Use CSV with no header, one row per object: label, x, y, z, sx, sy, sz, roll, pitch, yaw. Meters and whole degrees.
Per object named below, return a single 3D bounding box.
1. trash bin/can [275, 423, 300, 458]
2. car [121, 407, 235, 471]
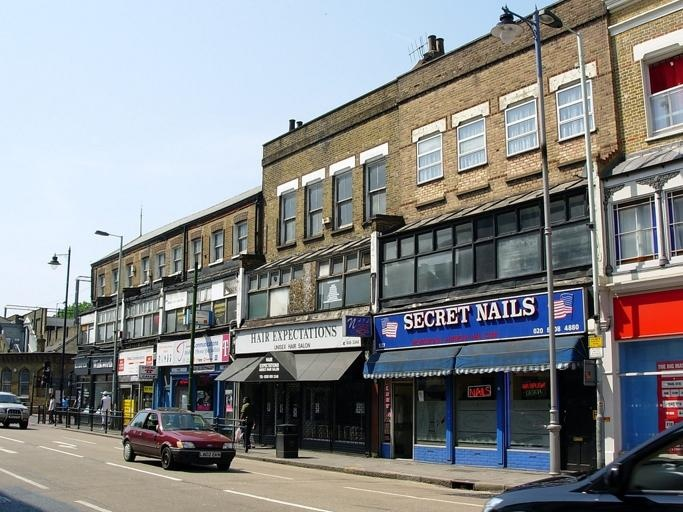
trash bin/can,-2.065,6.994,37.130,1.144,1.225,1.166,3,-8,-21
car,-5.542,6.088,32.868,3.854,2.223,1.926,-16,-23,40
